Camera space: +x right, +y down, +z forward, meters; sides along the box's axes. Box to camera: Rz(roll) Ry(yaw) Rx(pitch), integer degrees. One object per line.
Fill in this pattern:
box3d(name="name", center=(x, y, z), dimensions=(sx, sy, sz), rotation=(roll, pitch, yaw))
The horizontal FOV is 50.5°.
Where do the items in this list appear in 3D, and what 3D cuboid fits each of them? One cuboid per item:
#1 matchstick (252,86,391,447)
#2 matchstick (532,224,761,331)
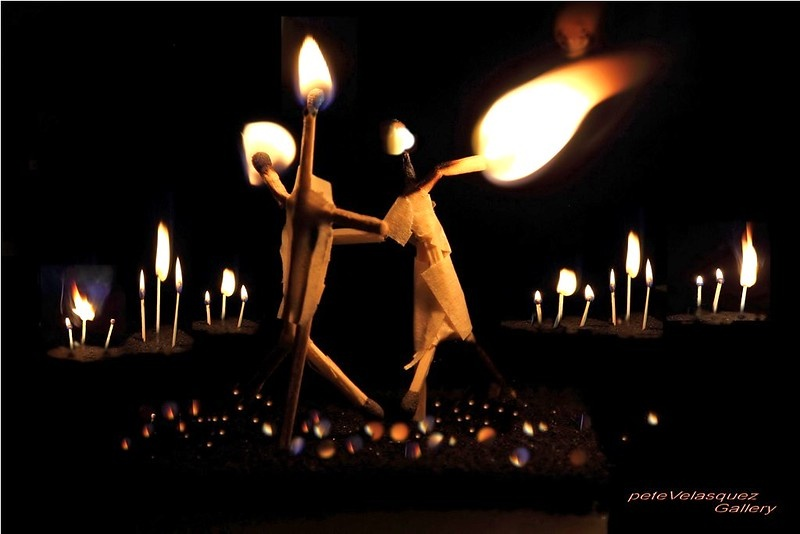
box3d(name="matchstick", center=(-0.279, 0.025, 2.724), dimensions=(0.444, 1.114, 0.363), rotation=(3, -9, -3))
box3d(name="matchstick", center=(0.832, 0.032, 2.860), dimensions=(0.752, 0.356, 0.071), rotation=(2, -9, 1))
